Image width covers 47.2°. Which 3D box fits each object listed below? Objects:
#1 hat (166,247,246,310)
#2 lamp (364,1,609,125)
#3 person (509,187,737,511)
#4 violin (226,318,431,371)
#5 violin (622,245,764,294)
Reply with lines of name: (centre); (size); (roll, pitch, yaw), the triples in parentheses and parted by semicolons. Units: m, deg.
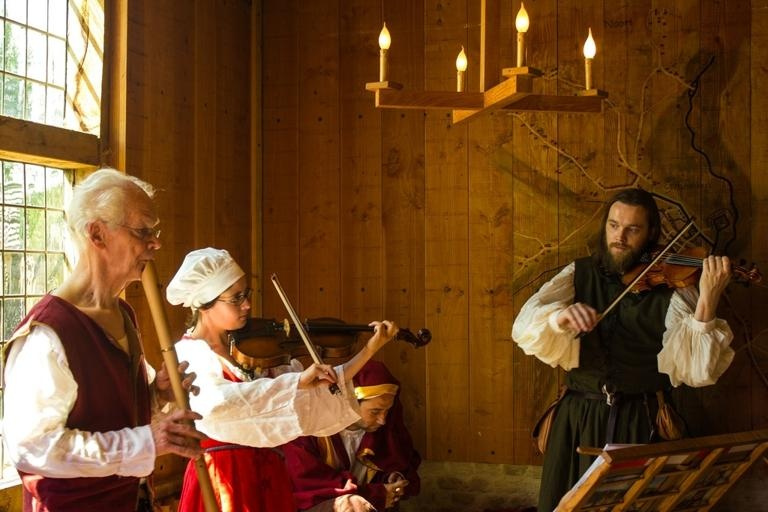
hat: (-1.010, 0.038, 5.150); (0.377, 0.234, 0.300); (-7, 16, 39)
lamp: (0.577, -1.170, 5.000); (1.057, 0.646, 0.946); (-5, -3, 39)
person: (1.522, 0.581, 5.662); (1.335, 2.020, 0.478); (-3, -1, 7)
violin: (-0.357, 0.507, 5.299); (1.140, 0.268, 0.433); (5, 6, -33)
violin: (1.931, 0.124, 5.512); (0.780, 0.127, 0.359); (-3, 39, 45)
